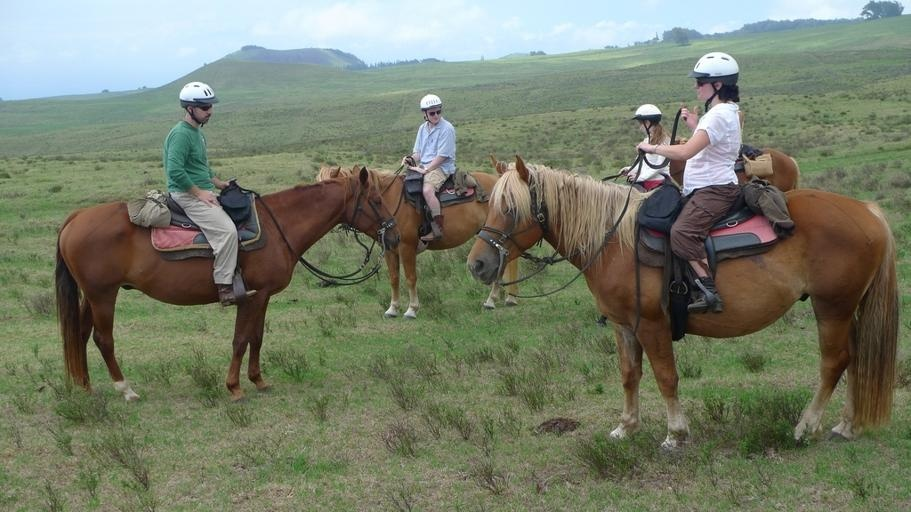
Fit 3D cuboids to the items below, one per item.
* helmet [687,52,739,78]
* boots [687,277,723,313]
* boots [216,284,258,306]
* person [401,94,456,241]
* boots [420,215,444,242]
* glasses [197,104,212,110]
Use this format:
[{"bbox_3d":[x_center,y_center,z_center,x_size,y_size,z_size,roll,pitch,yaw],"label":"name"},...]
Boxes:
[{"bbox_3d":[4.424,-3.215,10.890,0.711,0.305,0.468,6,12,5],"label":"helmet"},{"bbox_3d":[4.056,0.677,10.490,0.534,0.601,0.246,-3,13,14],"label":"boots"},{"bbox_3d":[-4.201,0.785,12.404,0.597,0.378,0.396,-5,-9,11],"label":"boots"},{"bbox_3d":[-0.576,-2.103,15.898,1.142,3.509,1.310,-4,13,13],"label":"person"},{"bbox_3d":[-0.701,-0.602,15.686,0.762,0.648,0.351,-1,5,6],"label":"boots"},{"bbox_3d":[-4.810,-2.825,12.406,0.168,0.046,0.155,-3,17,23],"label":"glasses"}]
